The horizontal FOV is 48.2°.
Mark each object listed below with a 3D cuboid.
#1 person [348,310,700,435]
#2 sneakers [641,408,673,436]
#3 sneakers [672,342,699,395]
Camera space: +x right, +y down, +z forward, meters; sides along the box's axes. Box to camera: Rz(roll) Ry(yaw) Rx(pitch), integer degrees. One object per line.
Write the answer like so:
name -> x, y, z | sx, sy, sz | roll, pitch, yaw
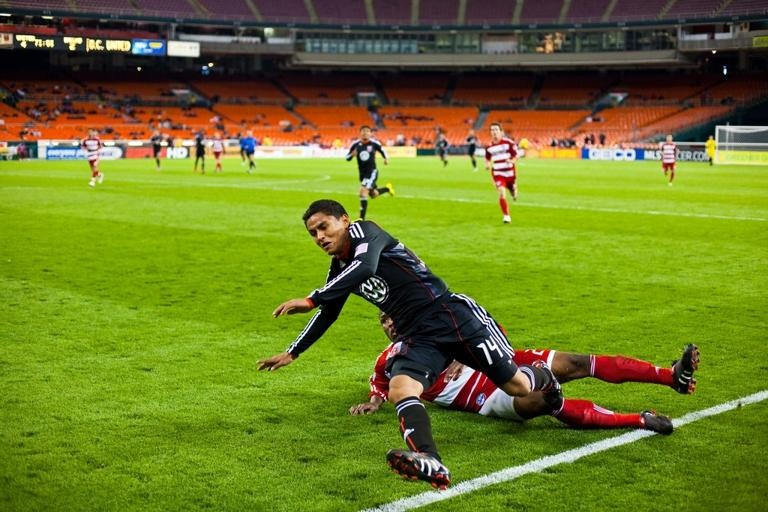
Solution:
person -> 1.511, 1.200, 8.917 | 3.462, 1.297, 1.110 | 3, 39, 12
sneakers -> 2.618, 1.605, 8.208 | 0.295, 0.188, 0.111 | 11, -9, -2
sneakers -> 2.869, 1.053, 8.175 | 0.205, 0.523, 0.238 | 9, 31, 10
